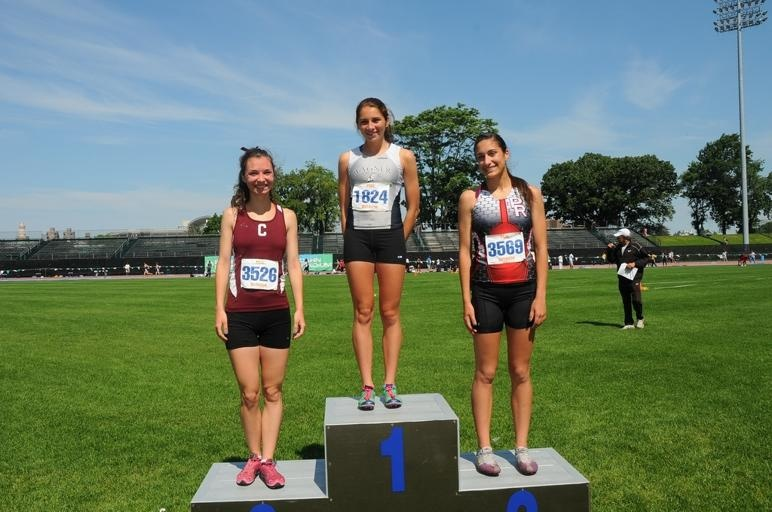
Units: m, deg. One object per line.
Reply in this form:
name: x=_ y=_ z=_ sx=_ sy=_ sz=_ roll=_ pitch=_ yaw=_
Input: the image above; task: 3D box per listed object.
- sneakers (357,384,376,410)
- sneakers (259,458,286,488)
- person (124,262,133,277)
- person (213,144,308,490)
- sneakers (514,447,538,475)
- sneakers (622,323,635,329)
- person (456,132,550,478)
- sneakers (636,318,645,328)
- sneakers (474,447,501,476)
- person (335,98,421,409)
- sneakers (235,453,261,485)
sneakers: x=-0.212 y=1.487 z=5.598 sx=0.175 sy=0.170 sz=0.375 roll=-3 pitch=2 yaw=-3
sneakers: x=-1.122 y=2.126 z=5.230 sx=0.142 sy=0.147 sz=0.352 roll=1 pitch=1 yaw=-26
person: x=-26.301 y=1.327 z=54.066 sx=0.579 sy=1.233 sz=1.155 roll=-3 pitch=2 yaw=-27
person: x=-1.301 y=0.536 z=5.497 sx=0.881 sy=2.924 sz=0.729 roll=-3 pitch=1 yaw=-13
sneakers: x=1.381 y=2.022 z=5.216 sx=0.116 sy=0.114 sz=0.294 roll=-4 pitch=1 yaw=-2
sneakers: x=5.890 y=1.710 z=12.915 sx=0.327 sy=0.140 sz=0.126 roll=1 pitch=0 yaw=-30
person: x=1.241 y=0.414 z=5.486 sx=0.912 sy=3.419 sz=0.702 roll=-2 pitch=1 yaw=3
sneakers: x=6.198 y=1.656 z=12.955 sx=0.115 sy=0.127 sz=0.321 roll=0 pitch=6 yaw=18
sneakers: x=1.004 y=2.050 z=5.254 sx=0.140 sy=0.123 sz=0.299 roll=0 pitch=-6 yaw=-4
person: x=-0.059 y=-0.091 z=6.002 sx=0.880 sy=2.438 sz=0.902 roll=-3 pitch=1 yaw=-5
sneakers: x=-1.351 y=2.107 z=5.213 sx=0.125 sy=0.140 sz=0.330 roll=4 pitch=1 yaw=5
